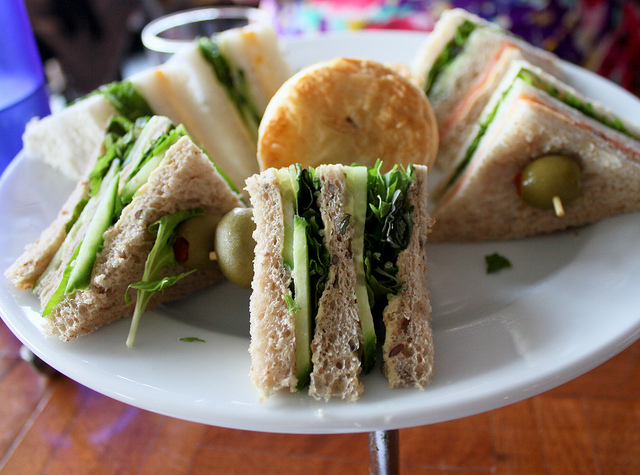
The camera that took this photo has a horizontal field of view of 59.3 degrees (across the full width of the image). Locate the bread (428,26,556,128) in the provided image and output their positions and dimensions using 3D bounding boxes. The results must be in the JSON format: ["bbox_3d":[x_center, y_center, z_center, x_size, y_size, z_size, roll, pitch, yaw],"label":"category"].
[{"bbox_3d":[0.677,-0.758,2.388,0.442,0.113,0.449,33,79,-3],"label":"bread"}]

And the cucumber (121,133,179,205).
[{"bbox_3d":[-0.621,-0.247,2.078,0.060,0.084,0.319,17,58,32],"label":"cucumber"}]

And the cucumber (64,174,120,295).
[{"bbox_3d":[-0.774,-0.014,1.980,0.044,0.067,0.419,36,53,-34],"label":"cucumber"}]

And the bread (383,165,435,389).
[{"bbox_3d":[0.281,0.097,1.859,0.141,0.139,0.770,8,70,-22],"label":"bread"}]

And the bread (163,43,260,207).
[{"bbox_3d":[-0.479,-0.499,2.453,0.222,0.186,0.771,-34,98,-51],"label":"bread"}]

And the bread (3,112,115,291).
[{"bbox_3d":[-0.997,-0.107,2.177,0.109,0.187,0.696,-5,43,25],"label":"bread"}]

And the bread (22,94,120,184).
[{"bbox_3d":[-1.118,-0.476,2.594,0.405,0.121,0.407,40,100,-11],"label":"bread"}]

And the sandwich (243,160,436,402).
[{"bbox_3d":[0.044,0.131,1.768,0.569,0.257,0.748,-1,81,-9],"label":"sandwich"}]

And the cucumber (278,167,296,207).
[{"bbox_3d":[-0.105,-0.166,1.850,0.035,0.039,0.152,-9,85,16],"label":"cucumber"}]

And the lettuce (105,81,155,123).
[{"bbox_3d":[-0.851,-0.573,2.554,0.163,0.079,0.290,-13,38,-17],"label":"lettuce"}]

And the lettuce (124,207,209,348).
[{"bbox_3d":[-0.595,0.128,1.978,0.196,0.082,0.482,36,48,-12],"label":"lettuce"}]
